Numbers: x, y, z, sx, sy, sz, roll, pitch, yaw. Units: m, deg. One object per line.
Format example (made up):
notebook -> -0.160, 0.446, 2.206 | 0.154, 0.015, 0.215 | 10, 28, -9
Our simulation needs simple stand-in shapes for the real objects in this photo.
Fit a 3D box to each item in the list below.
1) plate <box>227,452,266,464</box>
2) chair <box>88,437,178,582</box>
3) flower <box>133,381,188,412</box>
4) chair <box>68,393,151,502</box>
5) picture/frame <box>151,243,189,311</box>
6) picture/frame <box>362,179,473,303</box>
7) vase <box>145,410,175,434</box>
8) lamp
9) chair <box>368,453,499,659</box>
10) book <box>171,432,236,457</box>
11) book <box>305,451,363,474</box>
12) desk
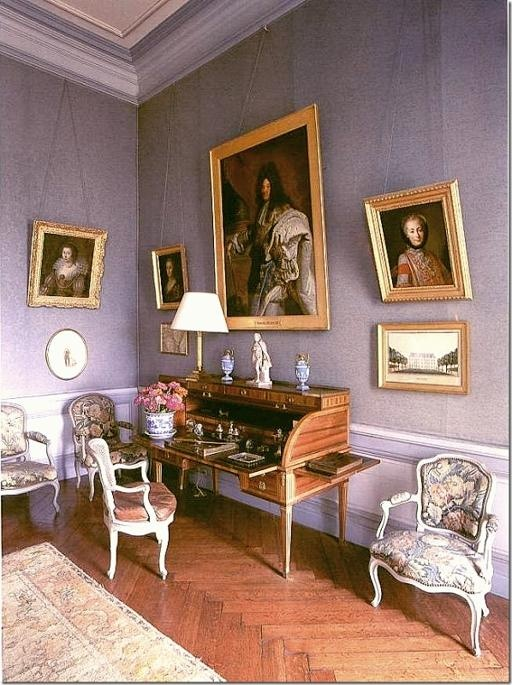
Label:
plate -> -0.048, 0.681, 3.101 | 0.196, 0.018, 0.253 | -3, 5, -30
chair -> -0.736, 0.973, 3.212 | 0.539, 0.766, 0.531 | 1, 3, -1
flower -> -0.674, 0.388, 3.724 | 0.285, 0.207, 0.292 | -4, 3, -32
chair -> -1.295, 0.894, 4.618 | 0.649, 0.832, 0.679 | 0, 4, 9
picture/frame -> -0.792, -0.620, 4.899 | 0.072, 0.713, 0.699 | -4, -2, -29
picture/frame -> 0.933, -0.578, 2.958 | 0.065, 0.874, 0.770 | -21, 16, -41
vase -> -0.693, 0.559, 3.699 | 0.173, 0.123, 0.174 | -2, -2, 25
lamp -> -0.427, -0.061, 4.035 | 0.382, 0.638, 0.733 | -1, 4, -5
chair -> 0.915, 1.016, 2.599 | 0.523, 0.776, 0.593 | 0, 3, -33
book -> -0.340, 0.667, 3.409 | 0.186, 0.043, 0.326 | 1, -1, -38
book -> 0.437, 0.693, 3.025 | 0.162, 0.034, 0.168 | -2, 3, 44
desk -> -0.069, 0.828, 3.493 | 1.571, 1.035, 0.818 | 4, 6, 44
